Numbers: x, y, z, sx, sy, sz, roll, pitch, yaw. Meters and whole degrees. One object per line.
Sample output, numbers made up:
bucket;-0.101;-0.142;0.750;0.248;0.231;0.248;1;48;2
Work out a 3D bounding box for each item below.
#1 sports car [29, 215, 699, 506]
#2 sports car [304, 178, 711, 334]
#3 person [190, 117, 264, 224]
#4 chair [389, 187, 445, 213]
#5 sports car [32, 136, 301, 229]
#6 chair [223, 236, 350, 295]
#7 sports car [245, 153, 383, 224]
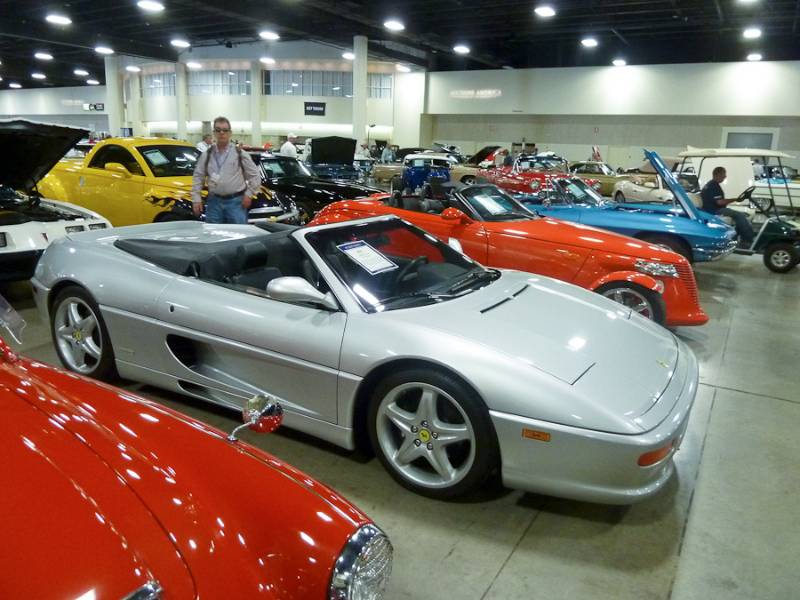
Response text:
sports car;-0.733;0.376;3.793;4.873;1.079;1.862;8;21;18
sports car;1.008;-0.533;6.446;4.499;1.076;1.946;6;15;19
person;-2.167;-1.584;6.654;0.859;1.240;0.476;-3;17;-8
chair;0.214;-1.240;6.693;0.549;0.193;0.314;4;20;18
sports car;-3.841;-1.841;8.577;4.269;1.142;1.662;5;13;16
chair;-0.816;-0.282;3.933;0.802;0.279;0.443;11;24;22
sports car;-1.855;-2.274;10.870;3.093;0.713;1.321;8;19;17
